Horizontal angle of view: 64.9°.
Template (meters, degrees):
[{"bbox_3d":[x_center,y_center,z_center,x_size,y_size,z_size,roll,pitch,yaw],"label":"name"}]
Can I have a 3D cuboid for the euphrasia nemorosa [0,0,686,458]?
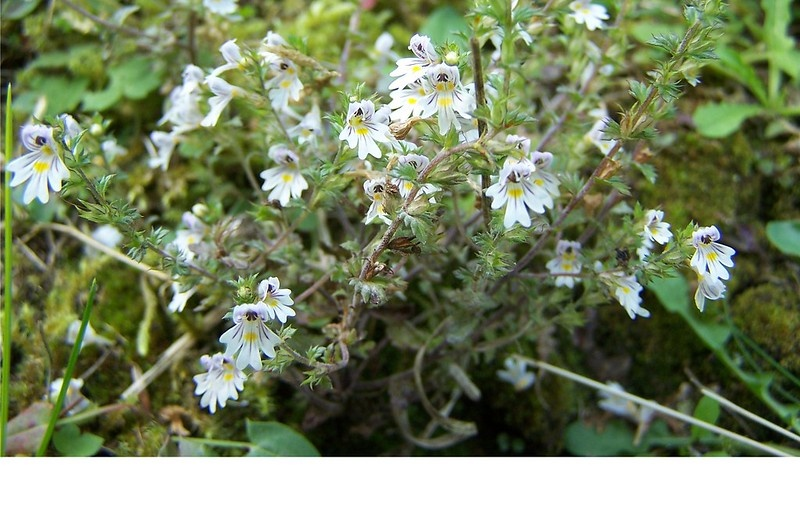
[{"bbox_3d":[-0.146,-0.012,1.974,1.461,0.813,1.697,-44,40,-19],"label":"euphrasia nemorosa"}]
